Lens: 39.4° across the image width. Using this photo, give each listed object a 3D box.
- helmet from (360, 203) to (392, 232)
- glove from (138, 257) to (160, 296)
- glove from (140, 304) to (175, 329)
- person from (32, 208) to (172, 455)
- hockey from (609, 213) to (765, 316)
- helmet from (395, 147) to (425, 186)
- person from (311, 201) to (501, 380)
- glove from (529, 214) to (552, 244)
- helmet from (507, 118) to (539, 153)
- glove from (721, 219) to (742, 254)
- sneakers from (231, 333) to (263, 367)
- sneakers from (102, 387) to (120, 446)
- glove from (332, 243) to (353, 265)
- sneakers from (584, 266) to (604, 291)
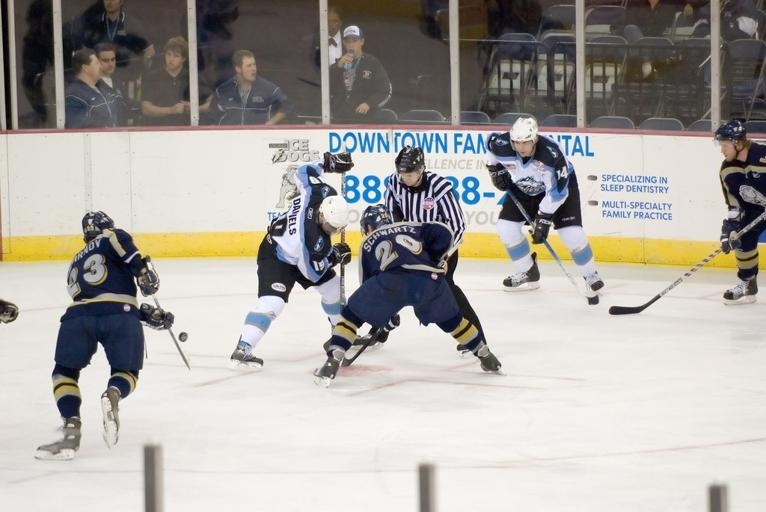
[{"bbox_3d":[-0.033,-0.272,7.498,0.220,0.203,0.180,6,16,43],"label":"helmet"},{"bbox_3d":[-1.497,0.114,6.646,0.112,0.231,0.169,-20,-11,7],"label":"glove"},{"bbox_3d":[-1.440,0.391,6.756,0.203,0.087,0.146,19,9,32],"label":"glove"},{"bbox_3d":[-1.721,0.457,6.578,0.658,1.425,0.879,2,7,10],"label":"person"},{"bbox_3d":[2.777,0.084,9.583,1.449,0.104,0.216,-31,-9,-5],"label":"hockey"},{"bbox_3d":[0.190,-0.646,7.675,0.201,0.284,0.279,0,7,0],"label":"helmet"},{"bbox_3d":[0.130,0.189,7.400,0.957,0.392,1.169,2,33,-4],"label":"person"},{"bbox_3d":[1.311,-0.236,8.883,0.102,0.226,0.201,14,2,6],"label":"glove"},{"bbox_3d":[1.135,-1.016,8.697,0.231,0.280,0.288,6,50,20],"label":"helmet"},{"bbox_3d":[2.928,-0.172,8.986,0.080,0.233,0.242,28,48,17],"label":"glove"},{"bbox_3d":[-0.960,0.676,7.568,0.228,0.245,0.301,-1,7,-9],"label":"sneakers"},{"bbox_3d":[-1.598,0.953,6.320,0.111,0.332,0.151,-3,4,0],"label":"sneakers"},{"bbox_3d":[-0.300,-0.026,7.571,0.151,0.115,0.147,-11,54,-15],"label":"glove"},{"bbox_3d":[1.788,0.195,9.151,0.102,0.128,0.297,-36,14,10],"label":"sneakers"}]
